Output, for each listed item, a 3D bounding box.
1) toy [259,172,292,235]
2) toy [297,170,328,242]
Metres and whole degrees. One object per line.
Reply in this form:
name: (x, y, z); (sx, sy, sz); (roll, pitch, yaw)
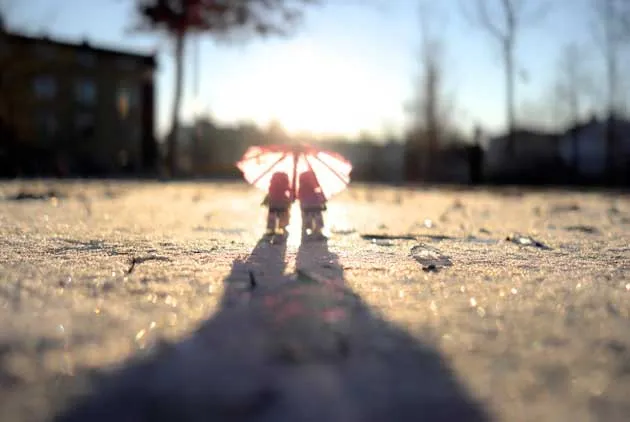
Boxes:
toy: (-0.357, -0.079, 6.242); (0.272, 0.539, 0.229); (0, 9, -2)
toy: (-0.028, -0.075, 6.167); (0.257, 0.547, 0.278); (0, 9, -2)
